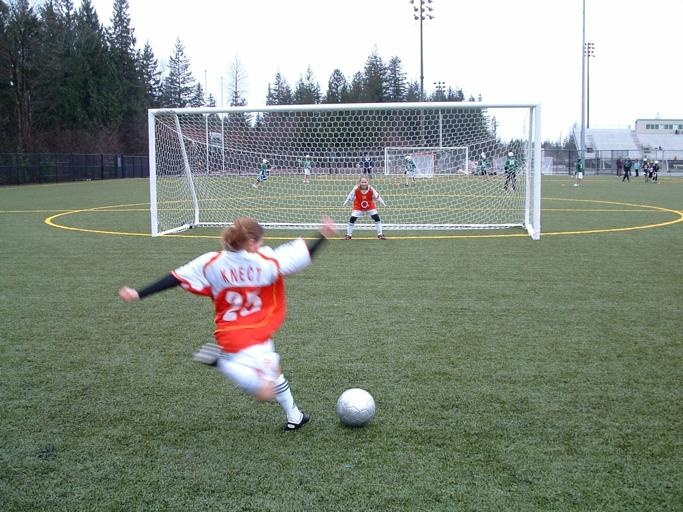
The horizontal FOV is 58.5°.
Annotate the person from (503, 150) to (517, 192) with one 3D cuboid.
[{"bbox_3d":[4.678,-2.376,16.997,0.352,1.142,0.318,2,28,12],"label":"person"}]

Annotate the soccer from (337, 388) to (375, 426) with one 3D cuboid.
[{"bbox_3d":[0.109,1.055,4.245,0.282,0.218,0.179,-2,14,-7],"label":"soccer"}]

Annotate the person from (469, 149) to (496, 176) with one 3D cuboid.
[{"bbox_3d":[4.535,-2.947,19.508,0.222,0.865,0.898,0,4,-37],"label":"person"}]

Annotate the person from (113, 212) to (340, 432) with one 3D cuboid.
[{"bbox_3d":[-0.589,0.294,4.211,1.385,1.714,0.978,-10,14,-44],"label":"person"}]

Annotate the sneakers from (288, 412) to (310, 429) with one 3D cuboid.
[{"bbox_3d":[-0.293,1.140,4.249,0.067,0.085,0.195,13,23,37],"label":"sneakers"}]

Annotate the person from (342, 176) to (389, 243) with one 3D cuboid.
[{"bbox_3d":[0.465,-1.000,12.324,0.818,1.493,0.494,1,35,1],"label":"person"}]
